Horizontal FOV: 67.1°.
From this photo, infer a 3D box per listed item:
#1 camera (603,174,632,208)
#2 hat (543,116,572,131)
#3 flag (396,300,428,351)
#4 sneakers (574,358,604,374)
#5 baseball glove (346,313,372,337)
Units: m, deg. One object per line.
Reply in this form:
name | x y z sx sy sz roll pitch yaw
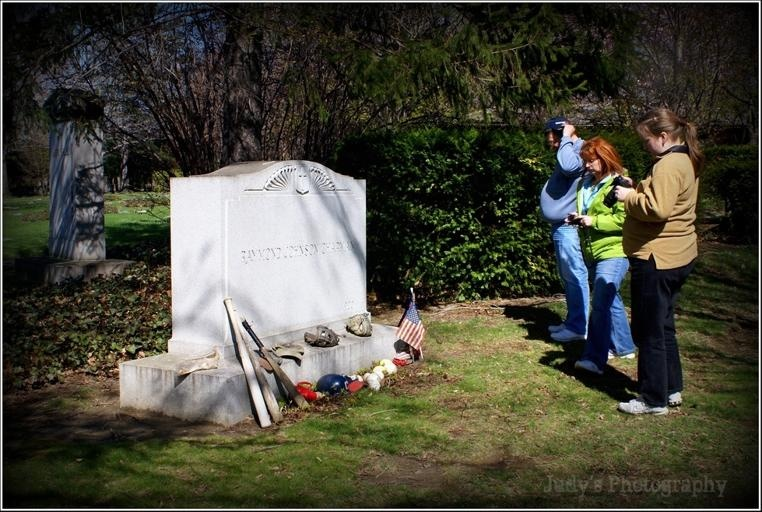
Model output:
camera | 2.668 -0.739 6.554 0.144 0.364 0.278 -1 42 -19
hat | 2.421 -1.844 8.061 0.201 0.144 0.273 -9 8 -18
flag | 0.409 1.014 8.037 0.346 0.717 0.256 -6 7 -35
sneakers | 2.624 1.359 7.153 0.363 0.163 0.164 26 -27 -10
baseball glove | -0.293 0.977 8.215 0.403 0.283 0.380 -4 6 -17
